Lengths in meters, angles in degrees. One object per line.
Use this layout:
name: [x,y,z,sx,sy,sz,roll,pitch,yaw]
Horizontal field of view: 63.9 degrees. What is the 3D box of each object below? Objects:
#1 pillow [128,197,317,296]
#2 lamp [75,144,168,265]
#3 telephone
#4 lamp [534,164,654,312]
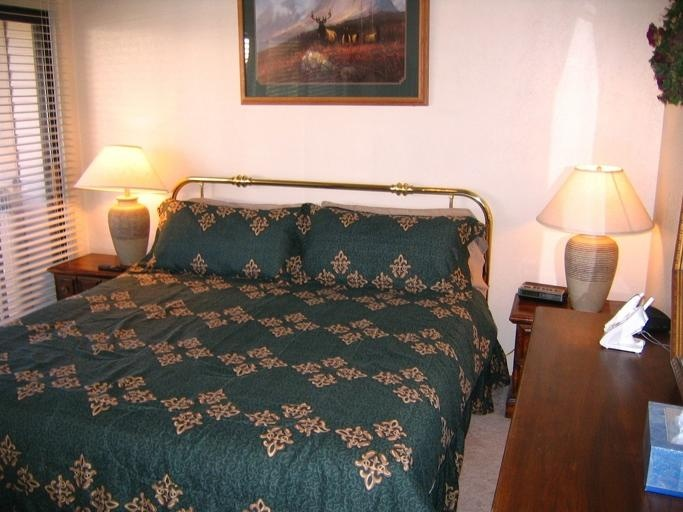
pillow: [-0.685,-0.087,3.354,1.035,0.382,0.489,4,38,9]
lamp: [-1.507,-0.339,3.871,0.535,0.857,0.687,-1,5,5]
telephone: [1.143,0.236,2.132,0.128,0.171,0.125,-9,14,-43]
lamp: [1.375,-0.080,3.073,0.605,0.824,0.625,8,14,31]
